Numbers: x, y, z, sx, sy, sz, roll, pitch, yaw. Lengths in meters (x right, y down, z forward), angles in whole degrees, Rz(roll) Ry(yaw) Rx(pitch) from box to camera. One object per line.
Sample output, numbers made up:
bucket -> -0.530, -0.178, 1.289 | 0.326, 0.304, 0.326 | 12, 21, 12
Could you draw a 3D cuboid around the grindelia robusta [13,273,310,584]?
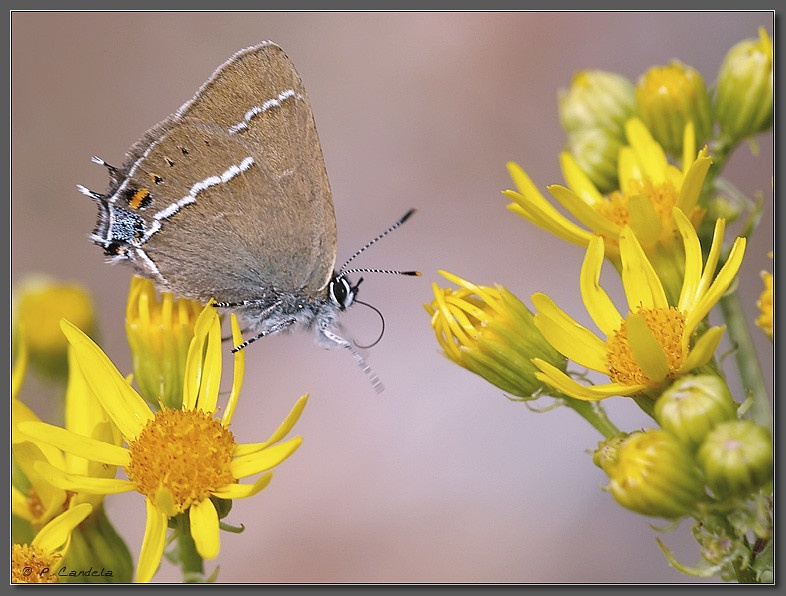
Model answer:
grindelia robusta -> -0.612, 0.313, 2.194 | 0.630, 0.593, 0.608 | 24, -68, -18
